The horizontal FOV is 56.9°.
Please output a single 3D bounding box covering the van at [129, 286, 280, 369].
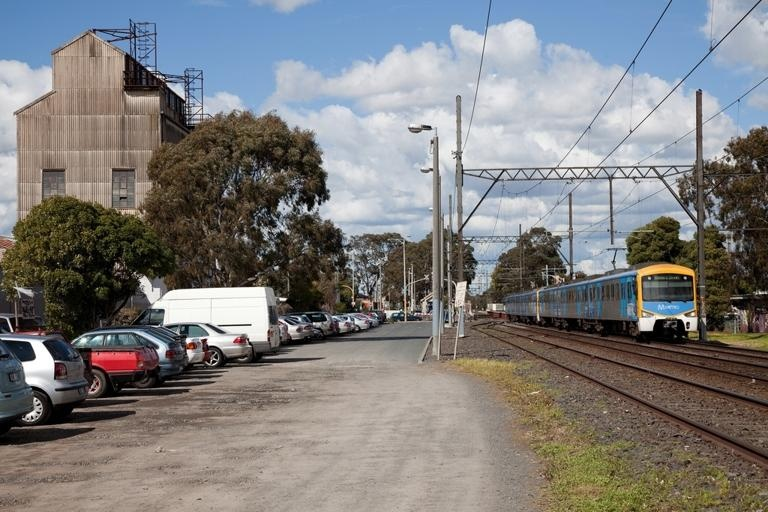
[{"bbox_3d":[-7.942,3.265,32.427,6.122,3.333,3.146,1,-6,6],"label":"van"}]
